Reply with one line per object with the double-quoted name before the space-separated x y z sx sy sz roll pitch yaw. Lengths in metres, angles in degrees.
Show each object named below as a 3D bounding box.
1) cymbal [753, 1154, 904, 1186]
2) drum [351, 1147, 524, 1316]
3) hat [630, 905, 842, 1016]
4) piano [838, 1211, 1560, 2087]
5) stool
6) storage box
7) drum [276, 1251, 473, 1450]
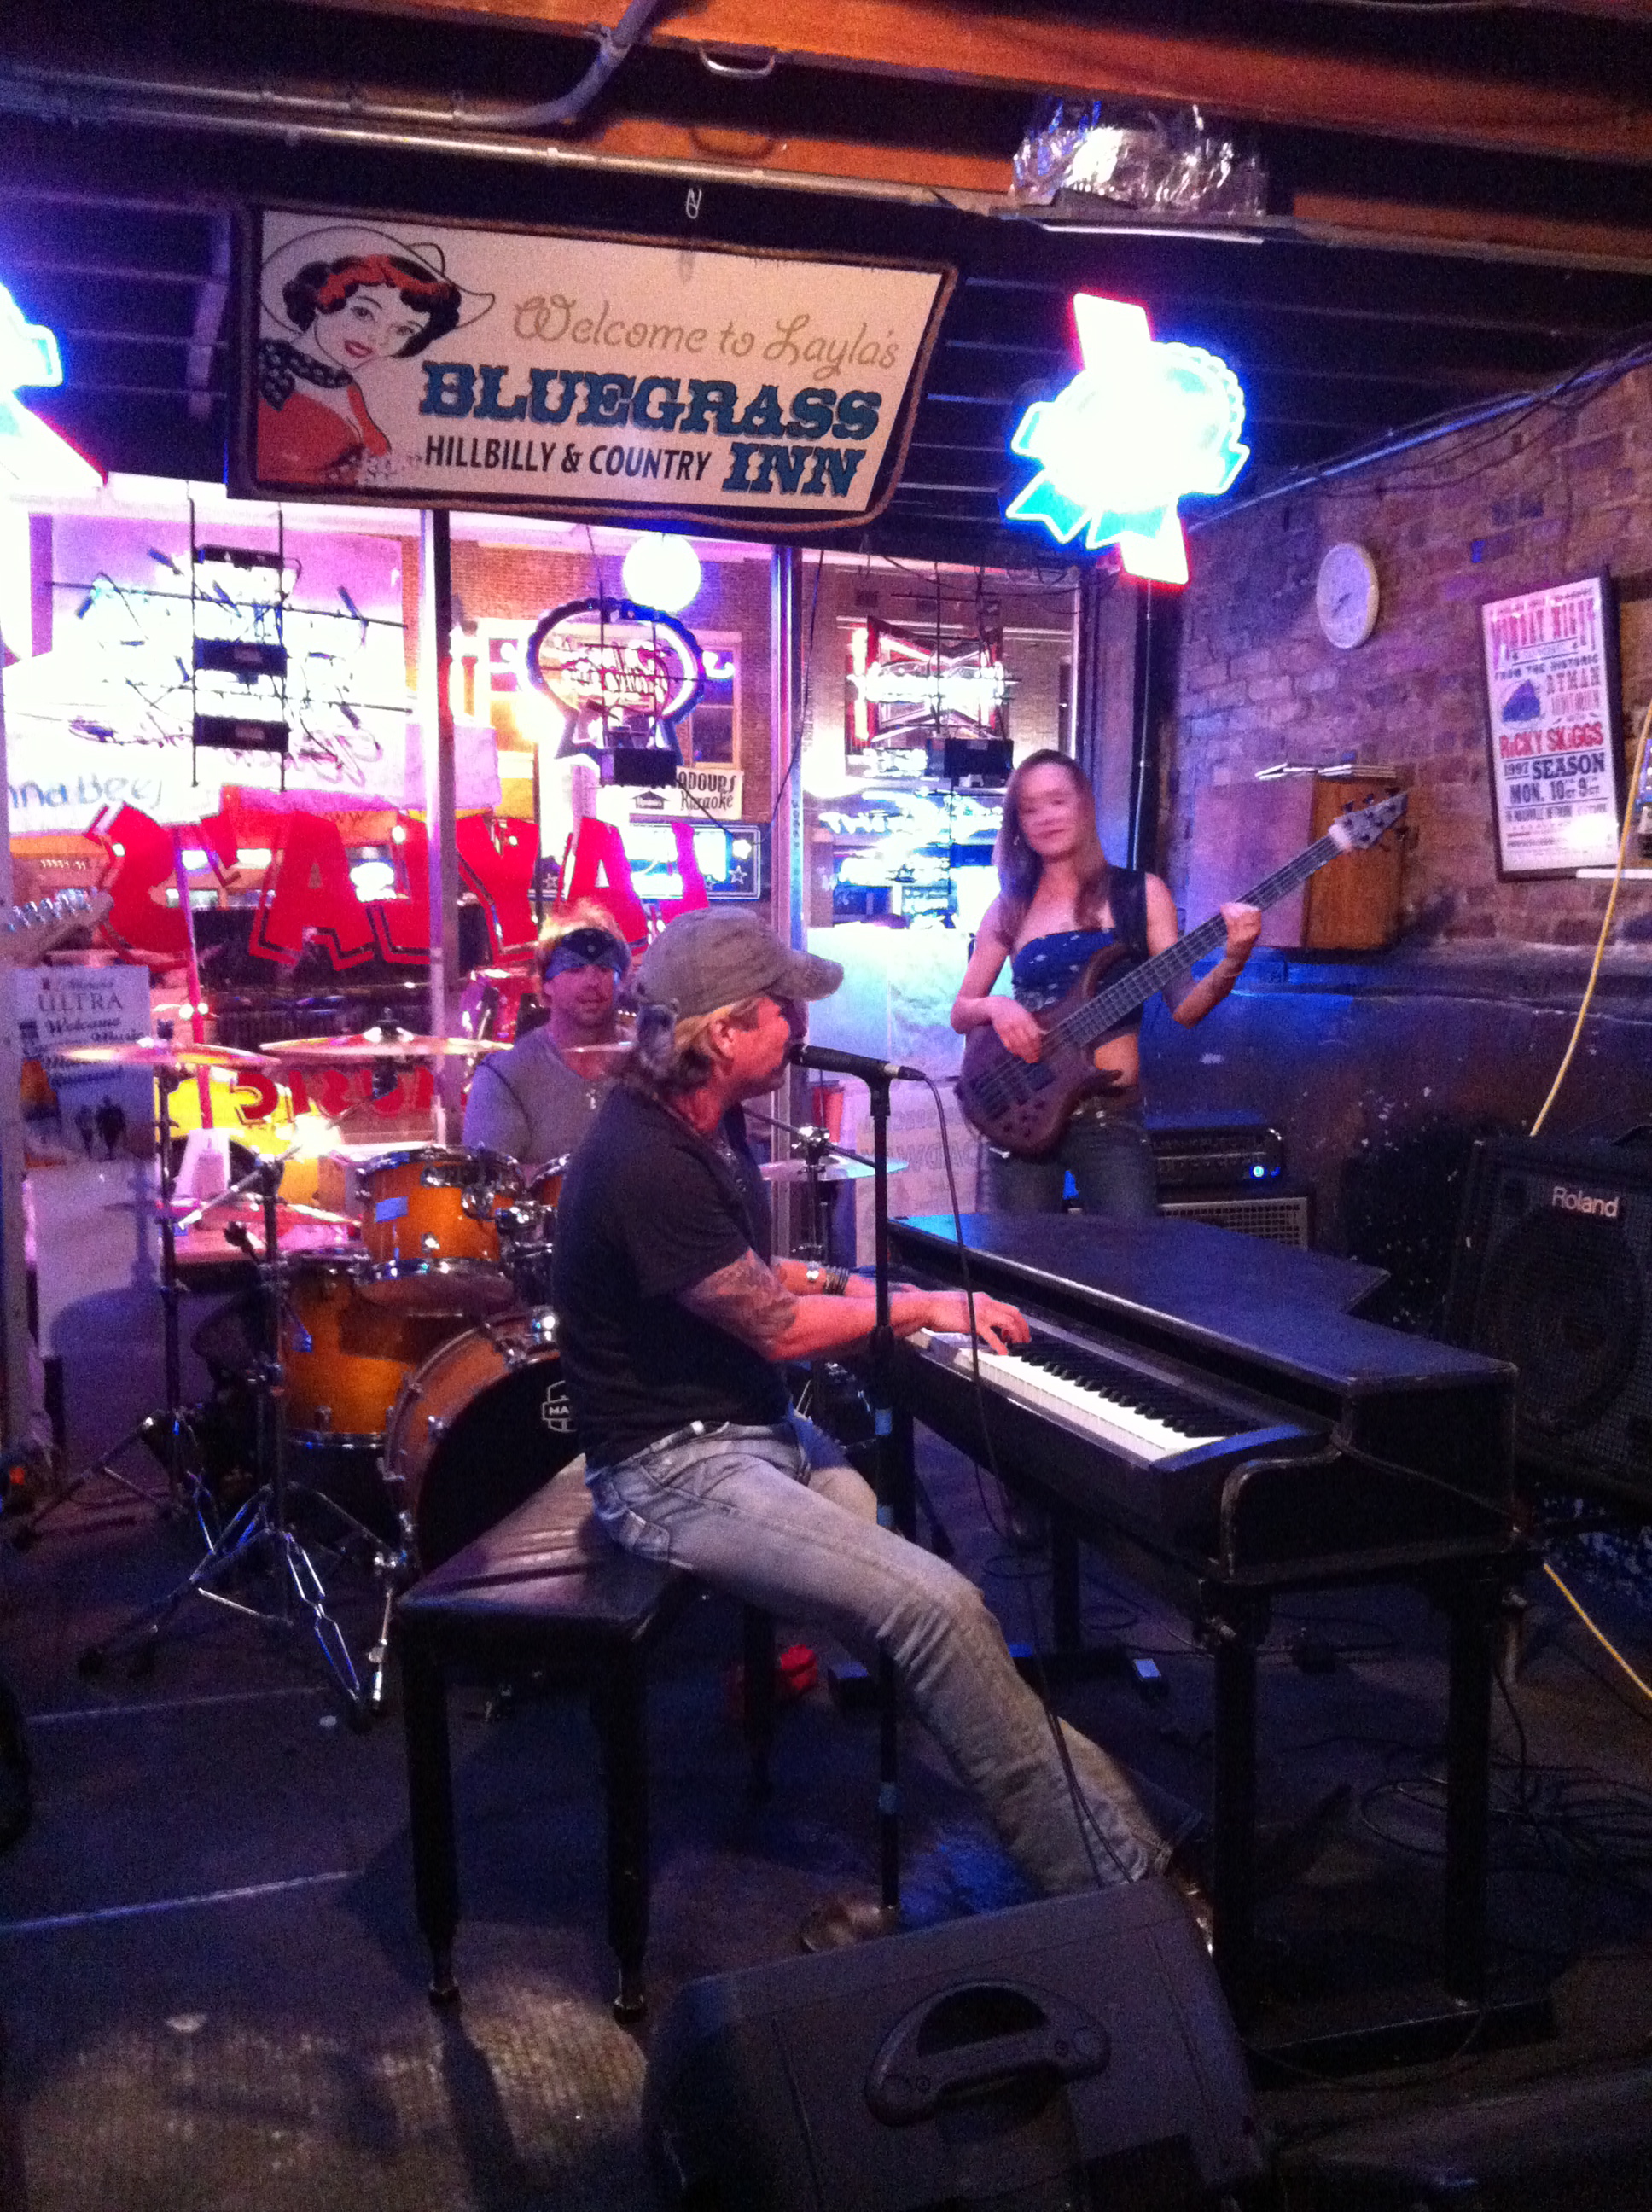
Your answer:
"cymbal" -0.024 0.167 5.201 0.195 0.048 0.197 -10 17 -40
"drum" -0.839 0.245 4.078 0.354 0.255 0.357 -2 -18 -1
"hat" -0.146 -0.243 2.979 0.263 0.119 0.170 -5 12 -16
"piano" 0.559 0.802 2.820 0.469 0.624 1.188 1 -1 -13
"stool" -0.234 0.992 3.080 0.373 0.559 0.946 -4 -3 24
"storage box" 1.417 -0.742 5.907 0.370 0.527 0.618 6 -1 -27
"drum" -1.020 0.578 4.432 0.472 0.404 0.432 -3 -7 -6
